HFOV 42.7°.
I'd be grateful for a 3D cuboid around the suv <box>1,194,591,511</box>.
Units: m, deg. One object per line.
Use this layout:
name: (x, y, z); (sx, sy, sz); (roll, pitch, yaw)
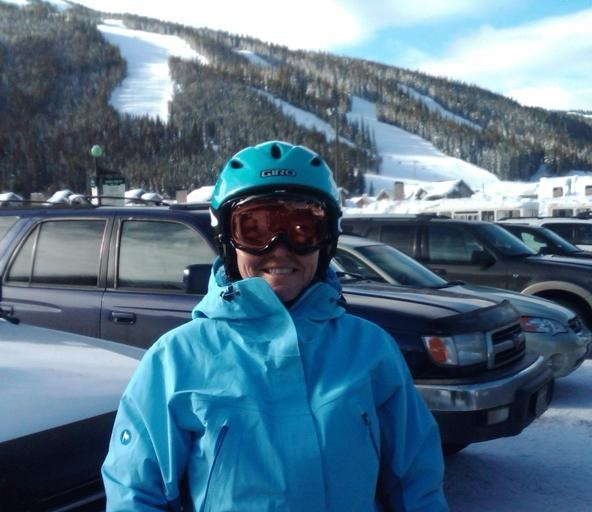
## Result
suv: (0.040, 0.272, 4.999); (3.957, 1.856, 2.028); (1, 3, 21)
